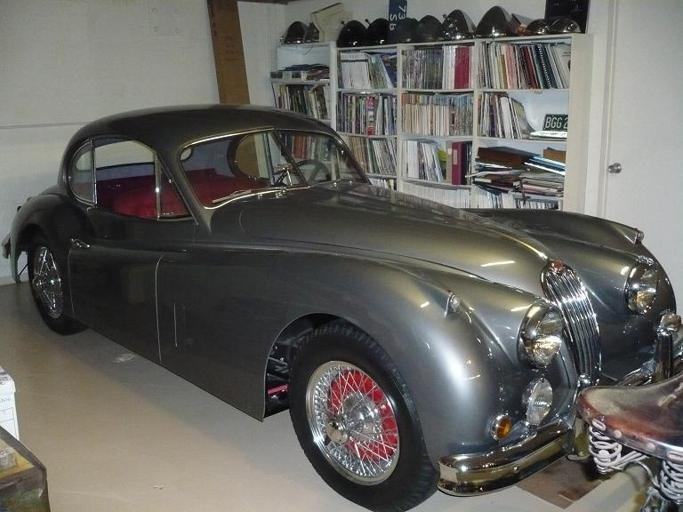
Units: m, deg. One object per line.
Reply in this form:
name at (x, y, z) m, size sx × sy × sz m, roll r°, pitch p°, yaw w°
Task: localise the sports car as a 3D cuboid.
sports car at (-0.333, 0.096, 2.889) m, size 3.740 × 1.434 × 1.859 m, roll 17°, pitch 28°, yaw 39°
